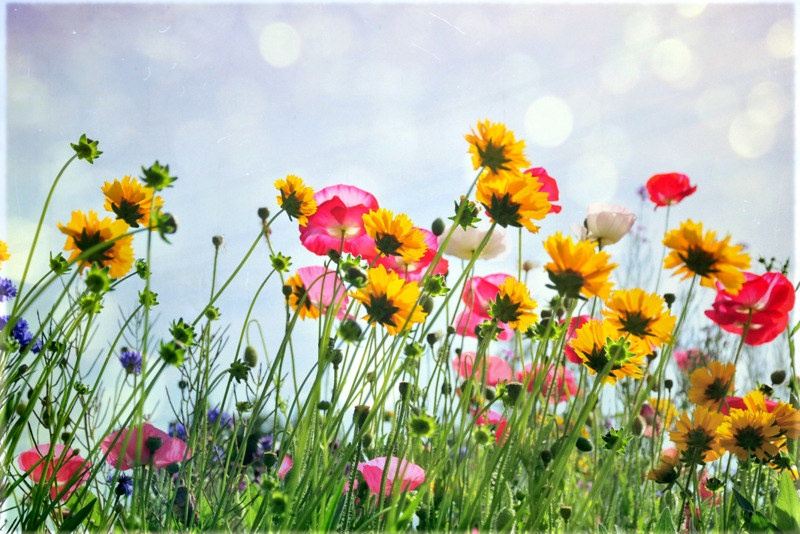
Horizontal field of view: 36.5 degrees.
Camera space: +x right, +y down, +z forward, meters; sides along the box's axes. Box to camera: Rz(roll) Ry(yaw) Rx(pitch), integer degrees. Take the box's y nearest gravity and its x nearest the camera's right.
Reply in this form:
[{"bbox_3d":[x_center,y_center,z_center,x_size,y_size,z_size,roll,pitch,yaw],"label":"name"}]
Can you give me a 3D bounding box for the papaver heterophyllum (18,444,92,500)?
[{"bbox_3d":[-0.886,0.526,3.107,0.096,0.100,0.123,-14,-69,20],"label":"papaver heterophyllum"}]
